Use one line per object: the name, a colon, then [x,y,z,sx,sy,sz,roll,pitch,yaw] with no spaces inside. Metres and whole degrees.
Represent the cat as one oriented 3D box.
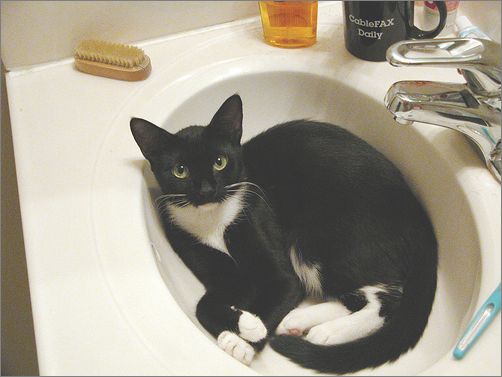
cat: [0.040,0.006,0.906,0.350,0.211,0.488,-18,28,-13]
